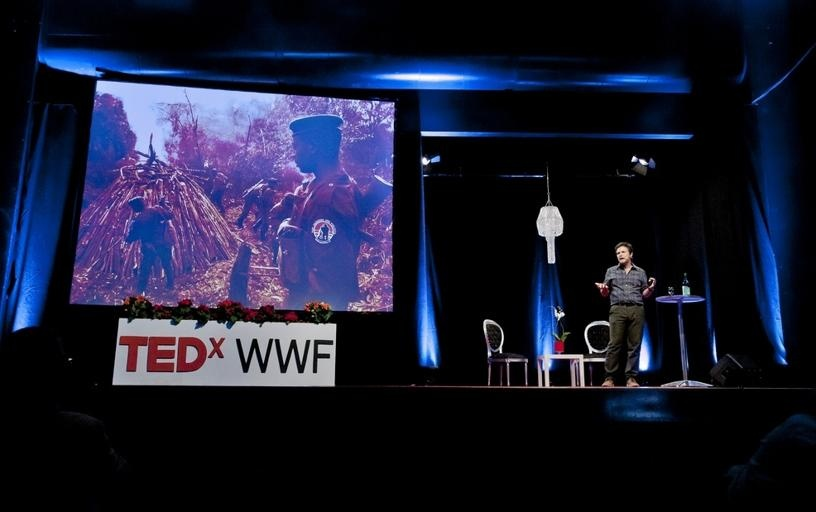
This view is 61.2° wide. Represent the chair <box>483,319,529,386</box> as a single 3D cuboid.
[{"bbox_3d":[1.565,1.592,11.170,0.699,1.080,0.804,0,-8,5],"label":"chair"}]

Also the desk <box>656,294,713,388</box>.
[{"bbox_3d":[4.118,1.341,10.293,0.881,1.307,0.836,-5,-11,25],"label":"desk"}]

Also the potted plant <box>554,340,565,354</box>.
[{"bbox_3d":[2.329,1.439,10.564,0.197,0.214,0.193,2,-14,-5],"label":"potted plant"}]

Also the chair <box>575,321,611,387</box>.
[{"bbox_3d":[3.097,1.702,11.562,0.595,0.981,0.584,2,-13,-4],"label":"chair"}]

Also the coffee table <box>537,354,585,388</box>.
[{"bbox_3d":[2.385,1.833,10.682,0.887,0.468,0.890,12,-15,-42],"label":"coffee table"}]

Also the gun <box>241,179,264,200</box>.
[{"bbox_3d":[-2.259,-0.964,10.039,0.272,0.100,0.198,-37,6,28],"label":"gun"}]

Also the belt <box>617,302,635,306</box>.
[{"bbox_3d":[3.152,0.715,9.854,0.184,0.046,0.028,-2,-8,22],"label":"belt"}]

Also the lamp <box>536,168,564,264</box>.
[{"bbox_3d":[2.387,-0.709,11.550,0.446,1.743,0.890,-1,-8,13],"label":"lamp"}]
